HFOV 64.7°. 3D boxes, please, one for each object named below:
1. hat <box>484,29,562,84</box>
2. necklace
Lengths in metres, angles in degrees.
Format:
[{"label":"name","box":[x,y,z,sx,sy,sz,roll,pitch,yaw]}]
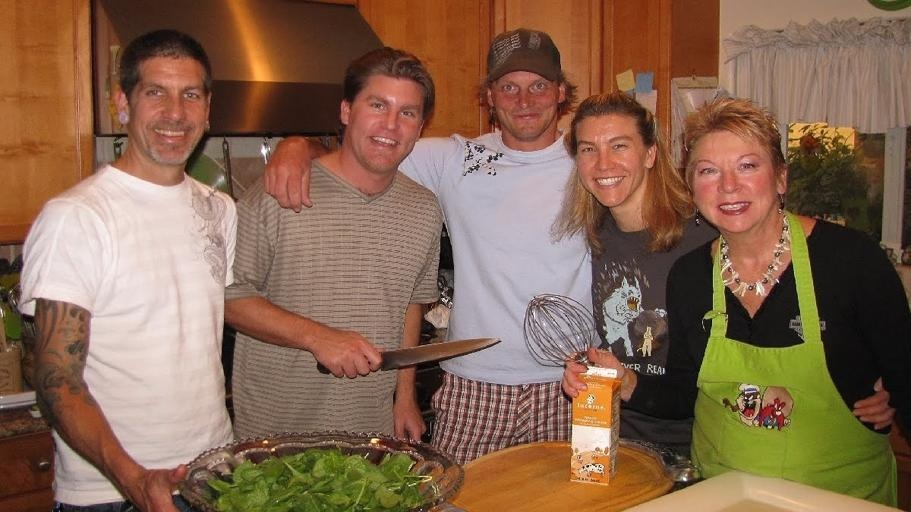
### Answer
[{"label":"hat","box":[0.309,-0.924,3.245,0.352,0.207,0.440,-4,16,-4]},{"label":"necklace","box":[1.100,-0.013,2.663,0.239,0.326,0.059,-1,2,26]}]
